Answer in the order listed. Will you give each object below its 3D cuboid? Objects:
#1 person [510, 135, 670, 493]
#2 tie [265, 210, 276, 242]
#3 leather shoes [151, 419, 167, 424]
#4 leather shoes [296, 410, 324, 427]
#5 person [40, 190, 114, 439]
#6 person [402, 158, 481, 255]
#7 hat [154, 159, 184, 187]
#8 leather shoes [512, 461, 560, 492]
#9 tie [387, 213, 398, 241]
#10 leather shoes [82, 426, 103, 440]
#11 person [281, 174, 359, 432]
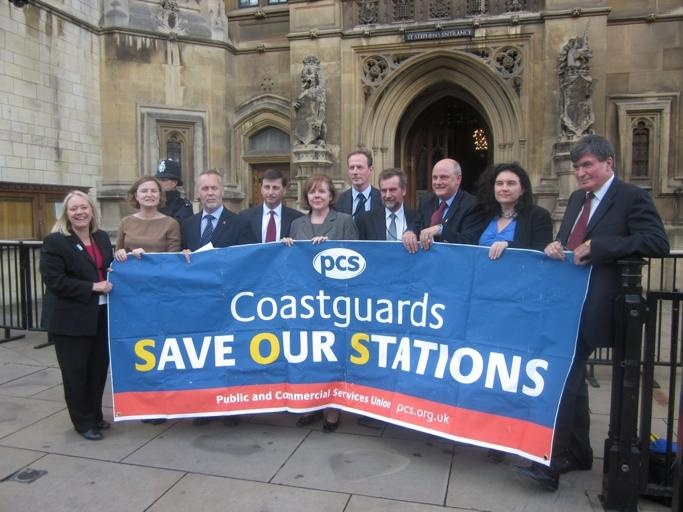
[{"bbox_3d":[2.783,0.600,9.362,1.356,3.835,0.744,-3,9,-6],"label":"person"},{"bbox_3d":[-0.894,-0.389,10.753,0.147,0.383,0.141,-1,9,5],"label":"tie"},{"bbox_3d":[-2.221,2.013,10.241,0.090,0.034,0.127,2,-1,4],"label":"leather shoes"},{"bbox_3d":[-0.384,1.974,10.192,0.365,0.145,0.132,1,-1,-42],"label":"leather shoes"},{"bbox_3d":[-3.083,0.694,10.042,0.805,2.893,0.646,-6,10,-26],"label":"person"},{"bbox_3d":[1.224,-0.618,10.094,0.885,1.058,0.829,0,9,9],"label":"person"},{"bbox_3d":[-2.398,-1.174,11.686,0.349,0.253,0.382,-1,15,-32],"label":"hat"},{"bbox_3d":[2.160,2.438,9.338,0.388,0.164,0.291,27,0,12],"label":"leather shoes"},{"bbox_3d":[0.640,-0.375,10.591,0.112,0.311,0.099,-1,9,5],"label":"tie"},{"bbox_3d":[-2.928,2.096,9.977,0.291,0.117,0.107,4,23,-1],"label":"leather shoes"},{"bbox_3d":[-0.232,0.515,10.282,0.889,2.993,0.789,-1,9,2],"label":"person"}]
